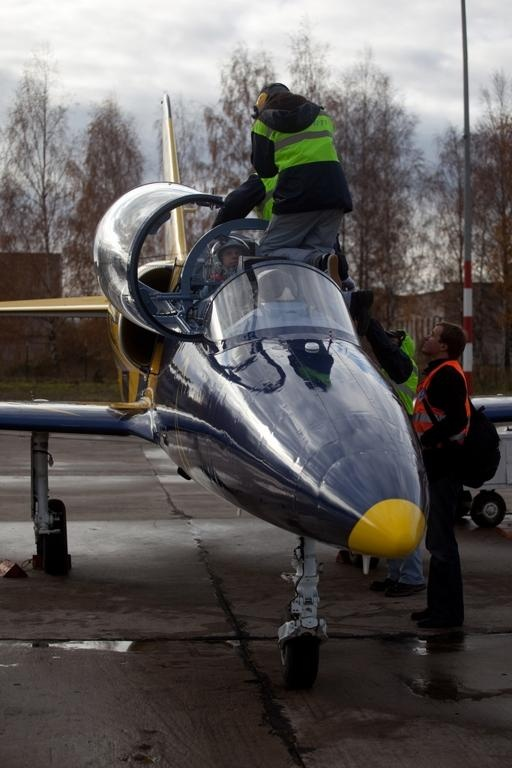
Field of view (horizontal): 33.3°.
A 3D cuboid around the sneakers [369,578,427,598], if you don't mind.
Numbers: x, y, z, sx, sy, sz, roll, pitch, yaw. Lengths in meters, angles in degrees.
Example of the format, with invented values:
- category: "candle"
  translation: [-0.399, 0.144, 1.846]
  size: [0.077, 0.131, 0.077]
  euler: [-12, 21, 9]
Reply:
- category: "sneakers"
  translation: [1.092, 1.590, 6.690]
  size: [0.409, 0.141, 0.144]
  euler: [3, -2, 2]

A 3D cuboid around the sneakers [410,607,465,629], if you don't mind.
- category: "sneakers"
  translation: [1.209, 1.563, 5.721]
  size: [0.329, 0.117, 0.114]
  euler: [0, 1, 22]

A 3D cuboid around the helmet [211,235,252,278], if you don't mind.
- category: "helmet"
  translation: [-0.215, -0.929, 6.268]
  size: [0.311, 0.342, 0.363]
  euler: [6, 23, -8]
